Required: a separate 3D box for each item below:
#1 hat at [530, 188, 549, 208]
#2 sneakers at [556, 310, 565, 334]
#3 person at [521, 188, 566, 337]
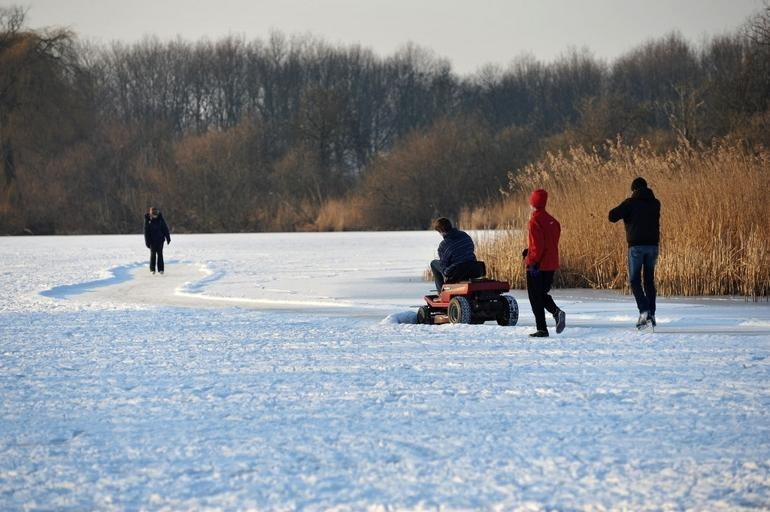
[{"bbox_3d":[3.132,-1.200,25.898,0.388,0.371,0.350,11,21,30],"label":"hat"},{"bbox_3d":[3.593,1.378,25.767,0.205,0.467,0.216,-16,25,-26],"label":"sneakers"},{"bbox_3d":[3.236,0.143,25.814,0.813,3.032,0.698,-1,2,7],"label":"person"}]
